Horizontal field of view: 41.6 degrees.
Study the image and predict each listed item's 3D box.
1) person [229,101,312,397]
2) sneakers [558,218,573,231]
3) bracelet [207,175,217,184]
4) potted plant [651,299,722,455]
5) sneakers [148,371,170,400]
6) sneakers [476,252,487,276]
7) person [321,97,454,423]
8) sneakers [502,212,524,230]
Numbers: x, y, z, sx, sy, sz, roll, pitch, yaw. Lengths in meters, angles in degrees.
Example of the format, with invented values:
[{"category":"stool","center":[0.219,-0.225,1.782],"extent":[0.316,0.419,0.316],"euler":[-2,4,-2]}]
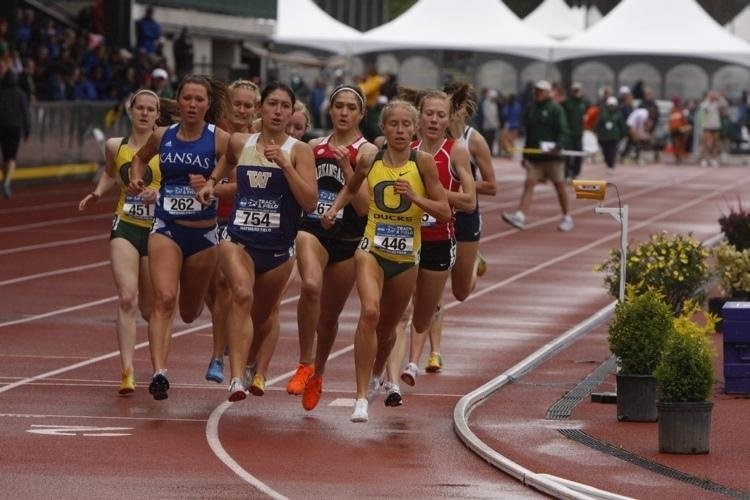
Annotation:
[{"category":"person","center":[-0.909,-0.044,8.402],"extent":[0.826,2.624,0.829],"euler":[-3,10,-29]},{"category":"sneakers","center":[3.951,-0.547,20.474],"extent":[0.296,0.292,0.518],"euler":[4,10,12]},{"category":"bracelet","center":[-1.415,-0.606,8.607],"extent":[0.062,0.020,0.062],"euler":[44,4,38]},{"category":"potted plant","center":[2.452,1.027,7.636],"extent":[0.550,1.021,0.542],"euler":[3,-4,-21]},{"category":"sneakers","center":[-1.850,1.191,8.427],"extent":[0.139,0.295,0.148],"euler":[5,32,-9]},{"category":"sneakers","center":[1.143,0.175,10.739],"extent":[0.172,0.217,0.505],"euler":[-3,-8,8]},{"category":"person","center":[0.104,0.124,8.252],"extent":[0.892,2.716,0.684],"euler":[-1,9,-17]},{"category":"sneakers","center":[2.860,-0.581,20.437],"extent":[0.414,0.295,0.140],"euler":[28,-10,4]}]
